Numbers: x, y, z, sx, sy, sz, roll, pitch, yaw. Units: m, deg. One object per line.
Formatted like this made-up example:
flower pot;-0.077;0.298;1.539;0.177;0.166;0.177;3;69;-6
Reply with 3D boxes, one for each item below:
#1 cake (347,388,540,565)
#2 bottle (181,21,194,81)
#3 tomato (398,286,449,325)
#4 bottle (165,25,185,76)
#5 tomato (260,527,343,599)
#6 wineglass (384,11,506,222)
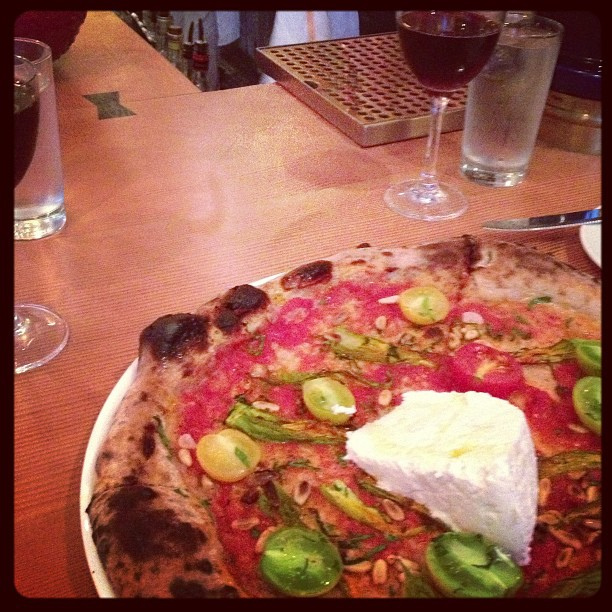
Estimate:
cake;0.081;0.104;0.342;0.081;0.034;0.099;-21;36;-31
bottle;-0.183;-0.412;0.863;0.030;0.079;0.025;8;32;3
tomato;0.088;-0.001;0.400;0.037;0.013;0.032;-10;38;-15
bottle;-0.220;-0.422;0.899;0.031;0.080;0.023;6;44;-4
tomato;-0.002;0.130;0.272;0.041;0.014;0.029;-1;37;-3
wineglass;0.139;-0.208;0.578;0.106;0.196;0.154;6;40;6
